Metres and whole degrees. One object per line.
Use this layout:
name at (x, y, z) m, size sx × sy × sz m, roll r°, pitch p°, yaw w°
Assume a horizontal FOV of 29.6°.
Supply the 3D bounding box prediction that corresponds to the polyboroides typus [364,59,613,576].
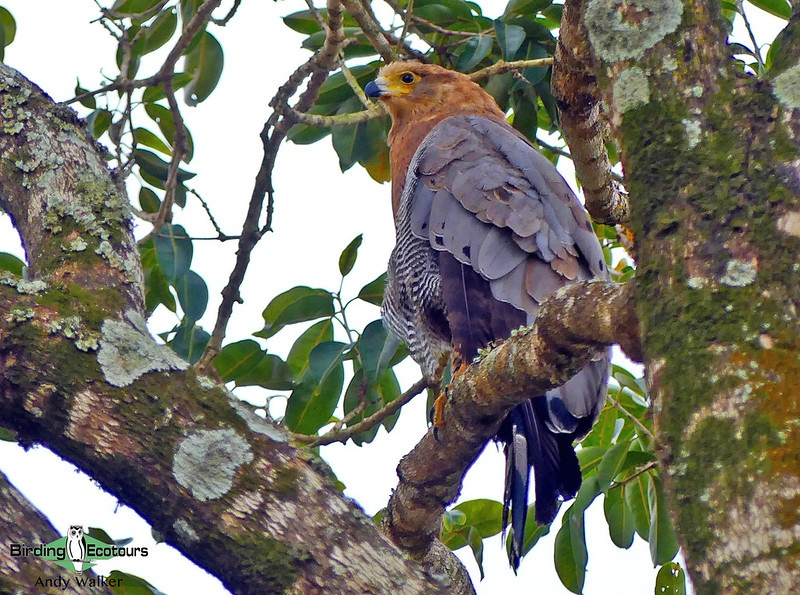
polyboroides typus at (0.341, 0.082, 5.343) m, size 0.928 × 1.978 × 0.682 m, roll -5°, pitch -47°, yaw 20°
